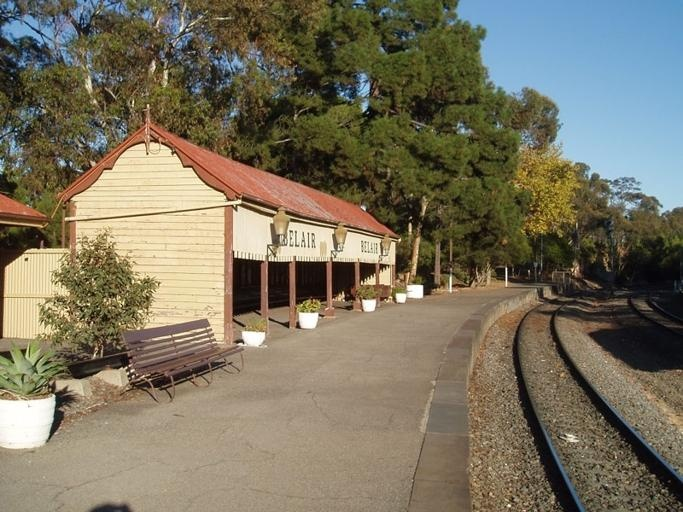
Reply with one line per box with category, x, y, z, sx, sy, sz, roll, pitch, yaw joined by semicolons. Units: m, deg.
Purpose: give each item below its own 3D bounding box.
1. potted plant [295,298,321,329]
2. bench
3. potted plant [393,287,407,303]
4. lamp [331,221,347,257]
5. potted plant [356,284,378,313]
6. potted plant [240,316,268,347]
potted plant;-1.175;2.065;20.276;0.904;1.307;0.865;2;-8;-4
bench;-3.551;2.167;12.377;1.137;1.424;3.075;5;3;17
potted plant;3.236;2.198;31.860;0.670;0.766;0.929;4;3;0
lamp;-0.147;-0.641;24.162;0.532;1.459;2.035;3;3;-1
potted plant;1.184;2.009;26.689;0.992;1.335;0.964;1;-9;-5
potted plant;-2.571;2.260;16.948;0.704;1.142;0.726;2;-8;-5
